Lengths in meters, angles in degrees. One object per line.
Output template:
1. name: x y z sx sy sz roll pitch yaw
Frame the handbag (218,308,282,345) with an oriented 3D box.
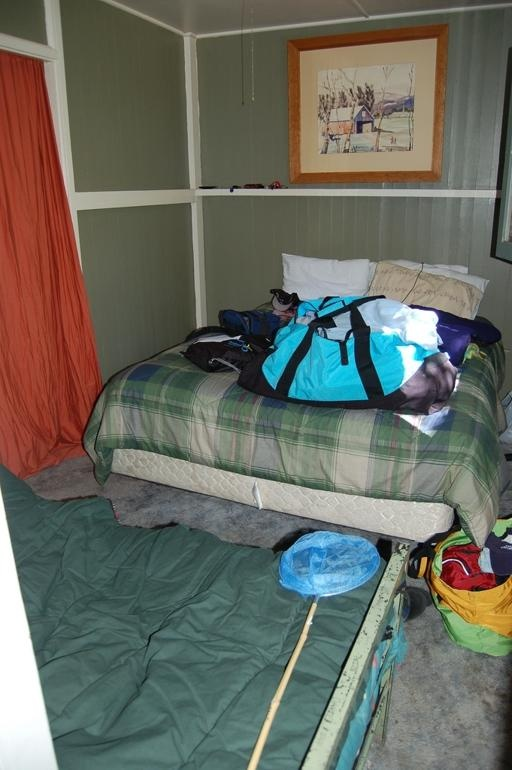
1. handbag: -0.026 -0.348 3.092 0.264 0.121 0.237 2 21 3

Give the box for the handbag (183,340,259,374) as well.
1. handbag: -0.168 -0.140 2.657 0.212 0.082 0.220 -1 17 -9

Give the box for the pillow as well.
1. pillow: 0.782 -0.654 3.436 0.925 0.305 0.608 8 31 20

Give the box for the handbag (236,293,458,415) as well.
1. handbag: 0.487 -0.149 2.569 0.884 0.337 0.941 0 18 29

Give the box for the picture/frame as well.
1. picture/frame: 0.779 -1.906 3.630 0.997 0.923 0.076 8 24 23
